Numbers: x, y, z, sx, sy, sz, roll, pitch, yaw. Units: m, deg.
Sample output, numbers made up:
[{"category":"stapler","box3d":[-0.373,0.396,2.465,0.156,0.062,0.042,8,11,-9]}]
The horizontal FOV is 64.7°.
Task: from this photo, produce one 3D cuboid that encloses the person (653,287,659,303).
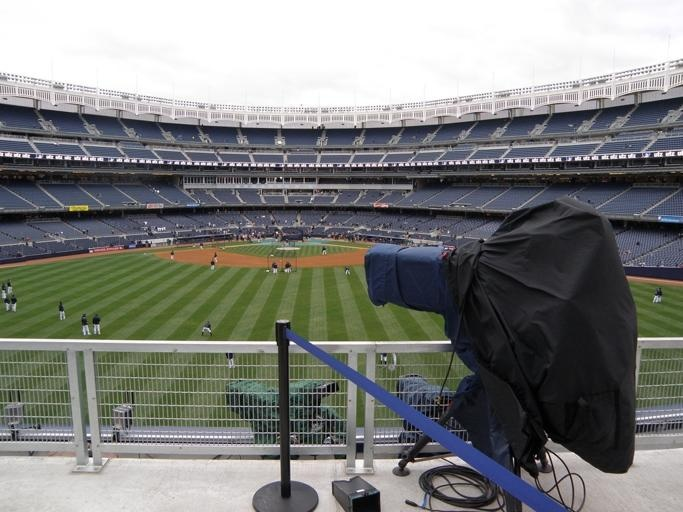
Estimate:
[{"category":"person","box3d":[13.999,1.782,25.047,0.247,0.698,0.766,6,10,26]}]
